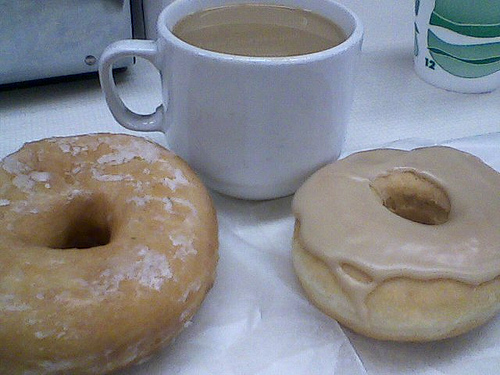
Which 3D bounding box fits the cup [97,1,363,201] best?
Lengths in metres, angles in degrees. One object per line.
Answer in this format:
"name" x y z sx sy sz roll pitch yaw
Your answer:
"cup" -0.023 -0.094 0.635 0.279 0.194 0.221 -4 41 -8
